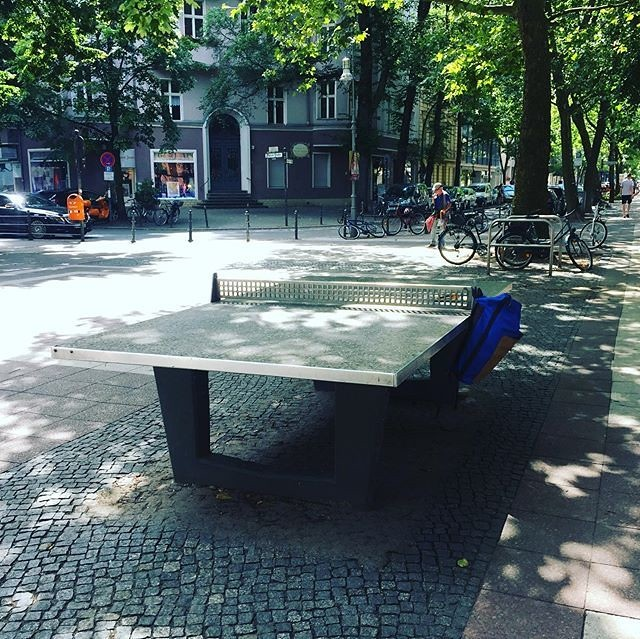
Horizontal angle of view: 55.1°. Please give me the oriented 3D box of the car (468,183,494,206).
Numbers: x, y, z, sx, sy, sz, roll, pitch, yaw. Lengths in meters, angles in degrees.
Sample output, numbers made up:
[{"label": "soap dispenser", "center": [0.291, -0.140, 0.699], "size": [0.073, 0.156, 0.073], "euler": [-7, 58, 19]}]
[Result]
[{"label": "car", "center": [11.651, -9.198, 45.036], "size": [1.745, 1.528, 3.500], "euler": [4, 18, 27]}]

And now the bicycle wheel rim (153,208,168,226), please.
[{"label": "bicycle wheel rim", "center": [-7.407, -4.839, 28.575], "size": [0.603, 0.805, 0.639], "euler": [-4, 12, -16]}]

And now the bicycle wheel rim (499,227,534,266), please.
[{"label": "bicycle wheel rim", "center": [4.219, -1.573, 13.149], "size": [0.808, 0.797, 0.167], "euler": [-13, 3, 24]}]

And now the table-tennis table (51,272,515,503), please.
[{"label": "table-tennis table", "center": [-0.050, 0.387, 3.810], "size": [2.010, 1.042, 2.169], "euler": [4, 11, 20]}]

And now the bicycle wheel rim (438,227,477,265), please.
[{"label": "bicycle wheel rim", "center": [3.236, -1.763, 14.363], "size": [0.970, 0.302, 1.335], "euler": [1, 27, 10]}]

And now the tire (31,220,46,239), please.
[{"label": "tire", "center": [-10.295, -3.304, 22.366], "size": [0.665, 0.579, 0.160], "euler": [1, 12, 9]}]

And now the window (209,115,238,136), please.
[{"label": "window", "center": [-6.582, -13.349, 41.559], "size": [2.123, 1.403, 0.093], "euler": [2, 47, -6]}]

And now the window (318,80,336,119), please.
[{"label": "window", "center": [0.515, -14.841, 40.704], "size": [1.818, 2.831, 0.254], "euler": [11, 26, 27]}]

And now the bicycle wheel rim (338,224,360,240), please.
[{"label": "bicycle wheel rim", "center": [1.025, -3.152, 21.766], "size": [0.702, 0.192, 0.657], "euler": [6, 28, 8]}]

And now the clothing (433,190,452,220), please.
[{"label": "clothing", "center": [3.360, -3.194, 16.869], "size": [0.441, 0.772, 0.660], "euler": [1, 11, 9]}]

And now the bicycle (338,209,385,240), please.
[{"label": "bicycle", "center": [1.603, -3.438, 22.520], "size": [2.124, 1.137, 0.992], "euler": [0, 0, -29]}]

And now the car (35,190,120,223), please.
[{"label": "car", "center": [-10.973, -5.506, 28.694], "size": [2.069, 1.320, 4.365], "euler": [13, 19, 40]}]

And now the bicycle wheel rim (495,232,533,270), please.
[{"label": "bicycle wheel rim", "center": [4.140, -1.467, 13.049], "size": [0.742, 0.775, 0.930], "euler": [3, 11, 16]}]
